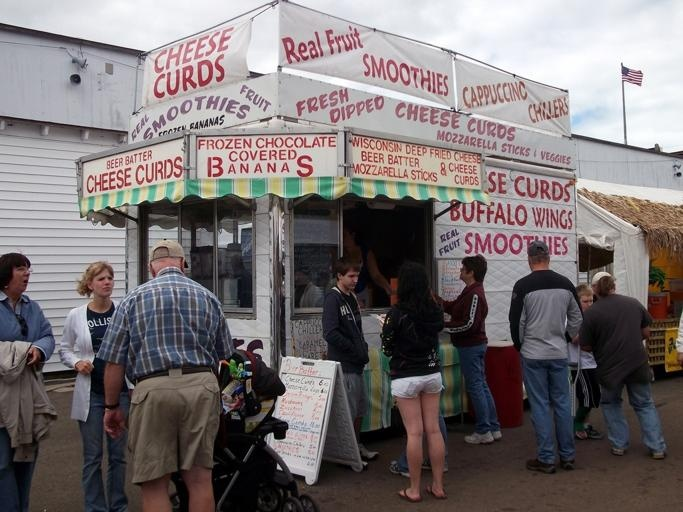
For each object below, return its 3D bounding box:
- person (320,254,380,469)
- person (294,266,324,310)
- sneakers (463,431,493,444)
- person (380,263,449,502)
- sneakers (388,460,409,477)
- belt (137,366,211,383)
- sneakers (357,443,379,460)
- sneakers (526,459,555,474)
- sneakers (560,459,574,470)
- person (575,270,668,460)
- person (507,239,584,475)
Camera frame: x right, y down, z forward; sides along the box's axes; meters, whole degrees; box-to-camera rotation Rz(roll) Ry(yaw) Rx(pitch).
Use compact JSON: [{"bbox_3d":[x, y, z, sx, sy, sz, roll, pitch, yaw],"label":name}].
[{"bbox_3d":[0.017,1.005,6.943,0.528,1.406,0.330,1,1,-18],"label":"person"},{"bbox_3d":[-0.393,0.346,7.824,0.384,0.751,0.494,0,1,9],"label":"person"},{"bbox_3d":[1.614,2.184,7.902,0.324,0.159,0.138,2,1,20],"label":"sneakers"},{"bbox_3d":[0.693,1.201,6.321,0.662,1.689,0.342,1,1,-28],"label":"person"},{"bbox_3d":[0.576,2.238,6.929,0.084,0.107,0.223,3,6,-35],"label":"sneakers"},{"bbox_3d":[-1.269,0.879,4.871,0.547,0.127,0.112,1,1,-6],"label":"belt"},{"bbox_3d":[0.244,2.179,7.328,0.323,0.155,0.134,14,-11,-34],"label":"sneakers"},{"bbox_3d":[2.076,2.229,6.957,0.121,0.139,0.272,-1,6,-41],"label":"sneakers"},{"bbox_3d":[2.390,2.232,7.008,0.065,0.086,0.184,0,-1,7],"label":"sneakers"},{"bbox_3d":[3.166,1.234,7.463,0.910,1.938,0.451,1,1,27],"label":"person"},{"bbox_3d":[2.163,1.066,7.044,0.766,2.107,0.374,1,1,7],"label":"person"}]
